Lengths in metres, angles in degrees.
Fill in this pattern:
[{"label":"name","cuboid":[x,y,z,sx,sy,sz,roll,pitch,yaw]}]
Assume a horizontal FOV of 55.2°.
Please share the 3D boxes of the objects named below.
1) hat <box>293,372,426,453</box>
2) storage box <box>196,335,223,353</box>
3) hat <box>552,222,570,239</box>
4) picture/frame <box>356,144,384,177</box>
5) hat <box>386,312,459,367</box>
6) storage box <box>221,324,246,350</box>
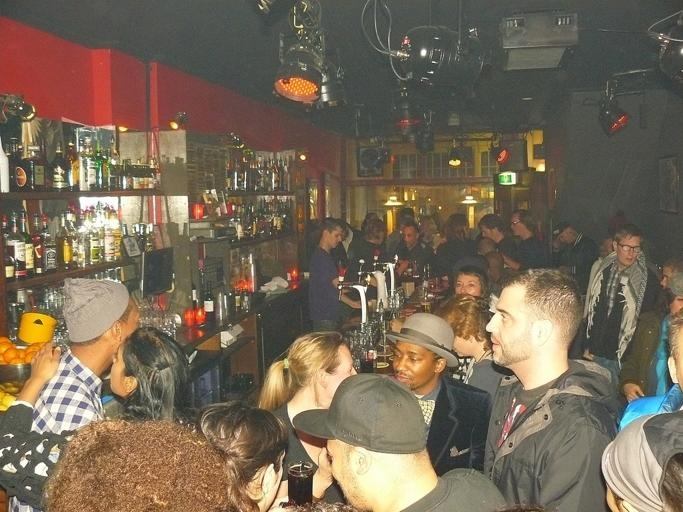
[{"label":"hat","cuboid":[0.070,0.665,2.755,0.451,0.229,0.302,9,4,22]},{"label":"storage box","cuboid":[-1.135,0.776,5.714,0.162,0.123,0.134,-3,-1,25]},{"label":"hat","cuboid":[3.008,-0.340,8.891,0.230,0.119,0.333,-5,9,41]},{"label":"picture/frame","cuboid":[0.569,-1.948,12.084,0.588,0.817,0.812,-1,-8,3]},{"label":"hat","cuboid":[0.508,0.507,3.927,0.350,0.137,0.318,30,-14,-13]},{"label":"storage box","cuboid":[-0.998,0.765,6.118,0.154,0.132,0.223,1,8,6]}]
